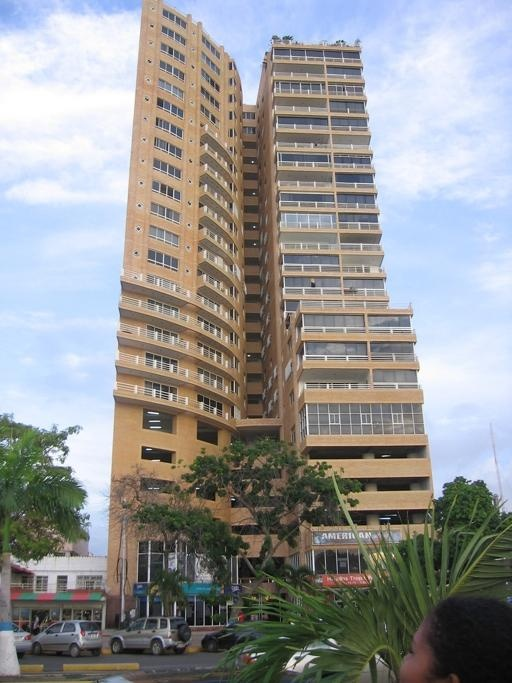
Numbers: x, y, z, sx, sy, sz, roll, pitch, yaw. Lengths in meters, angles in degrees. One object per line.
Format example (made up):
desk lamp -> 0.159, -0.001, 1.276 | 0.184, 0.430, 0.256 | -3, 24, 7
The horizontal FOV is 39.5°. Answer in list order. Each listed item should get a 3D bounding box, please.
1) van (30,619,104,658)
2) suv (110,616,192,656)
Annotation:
van -> -8.256, 12.899, 30.718 | 3.273, 1.365, 1.733 | -8, -39, 18
suv -> -4.567, 12.736, 30.783 | 3.086, 1.458, 0.910 | -9, -19, 21
